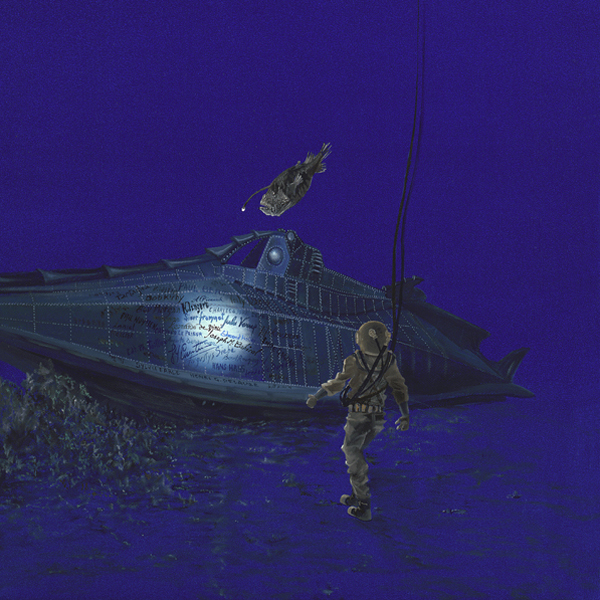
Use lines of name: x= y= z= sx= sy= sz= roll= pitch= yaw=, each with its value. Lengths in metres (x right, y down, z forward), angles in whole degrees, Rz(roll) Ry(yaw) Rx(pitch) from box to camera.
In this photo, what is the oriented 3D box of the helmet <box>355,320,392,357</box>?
helmet: x=0.309 y=0.167 z=3.939 sx=0.141 sy=0.131 sz=0.095 roll=8 pitch=15 yaw=5
